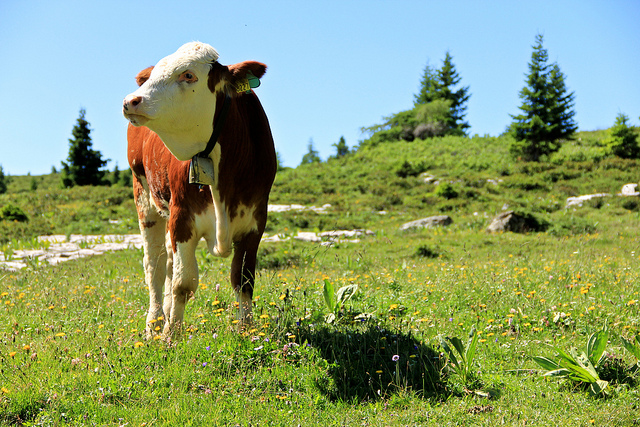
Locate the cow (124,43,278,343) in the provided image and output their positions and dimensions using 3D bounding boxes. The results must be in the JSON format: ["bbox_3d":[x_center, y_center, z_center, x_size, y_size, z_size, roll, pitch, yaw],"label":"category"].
[{"bbox_3d":[-2.257,-0.360,13.316,2.734,5.607,3.270,-2,4,-14],"label":"cow"}]
